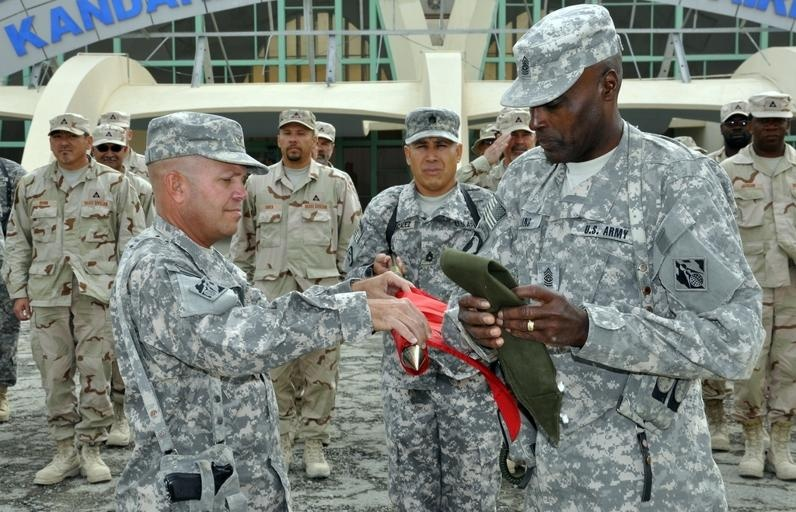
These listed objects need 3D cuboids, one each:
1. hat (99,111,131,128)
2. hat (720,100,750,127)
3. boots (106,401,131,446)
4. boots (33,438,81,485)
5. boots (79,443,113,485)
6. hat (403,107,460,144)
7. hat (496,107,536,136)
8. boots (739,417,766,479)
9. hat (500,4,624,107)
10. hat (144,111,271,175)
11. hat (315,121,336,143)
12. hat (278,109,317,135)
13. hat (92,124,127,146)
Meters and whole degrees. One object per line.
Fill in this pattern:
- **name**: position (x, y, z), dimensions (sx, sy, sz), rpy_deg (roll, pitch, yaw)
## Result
- **hat**: position (-3.514, -1.712, 12.602), dimensions (0.343, 0.145, 0.488), rpy_deg (1, 5, -12)
- **hat**: position (3.779, -1.594, 11.388), dimensions (0.494, 0.247, 0.711), rpy_deg (-5, 3, 16)
- **boots**: position (-2.872, 1.706, 10.406), dimensions (0.221, 0.389, 0.589), rpy_deg (7, 6, -16)
- **boots**: position (-3.222, 1.930, 9.617), dimensions (0.203, 0.387, 0.591), rpy_deg (2, 3, 25)
- **boots**: position (-2.907, 1.947, 9.687), dimensions (0.206, 0.341, 0.572), rpy_deg (-7, 8, -31)
- **hat**: position (0.299, -1.183, 9.017), dimensions (0.543, 0.249, 0.744), rpy_deg (-2, 14, 7)
- **hat**: position (1.221, -1.419, 10.936), dimensions (0.452, 0.235, 0.662), rpy_deg (-1, 10, 3)
- **boots**: position (3.411, 1.843, 9.789), dimensions (0.204, 0.505, 0.558), rpy_deg (-2, 10, 34)
- **hat**: position (1.092, -1.356, 7.109), dimensions (0.859, 0.414, 0.603), rpy_deg (-29, 15, -6)
- **hat**: position (-1.418, -0.813, 7.397), dimensions (0.583, 0.281, 0.453), rpy_deg (1, 0, 11)
- **hat**: position (-0.952, -1.630, 13.049), dimensions (0.265, 0.194, 0.385), rpy_deg (14, -1, 3)
- **hat**: position (-1.007, -1.403, 10.500), dimensions (0.311, 0.139, 0.440), rpy_deg (2, 4, 3)
- **hat**: position (-3.232, -1.344, 11.353), dimensions (0.377, 0.180, 0.558), rpy_deg (0, 6, -17)
